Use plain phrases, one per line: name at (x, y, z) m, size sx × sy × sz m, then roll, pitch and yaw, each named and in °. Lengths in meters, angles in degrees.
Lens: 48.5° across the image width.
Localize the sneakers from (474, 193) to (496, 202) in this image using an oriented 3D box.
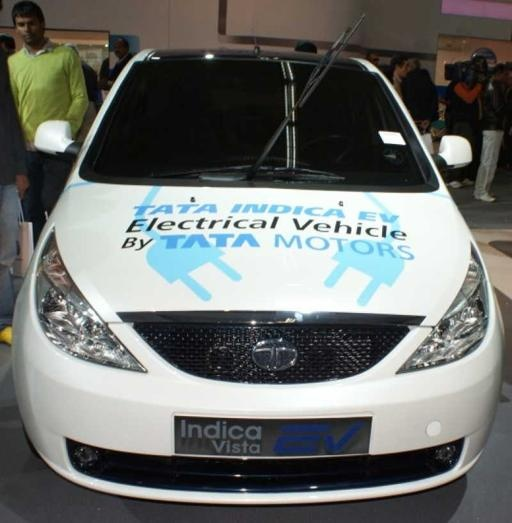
sneakers at (3.159, -0.875, 7.825) m, size 0.108 × 0.159 × 0.338 m, roll -5°, pitch 4°, yaw -28°
